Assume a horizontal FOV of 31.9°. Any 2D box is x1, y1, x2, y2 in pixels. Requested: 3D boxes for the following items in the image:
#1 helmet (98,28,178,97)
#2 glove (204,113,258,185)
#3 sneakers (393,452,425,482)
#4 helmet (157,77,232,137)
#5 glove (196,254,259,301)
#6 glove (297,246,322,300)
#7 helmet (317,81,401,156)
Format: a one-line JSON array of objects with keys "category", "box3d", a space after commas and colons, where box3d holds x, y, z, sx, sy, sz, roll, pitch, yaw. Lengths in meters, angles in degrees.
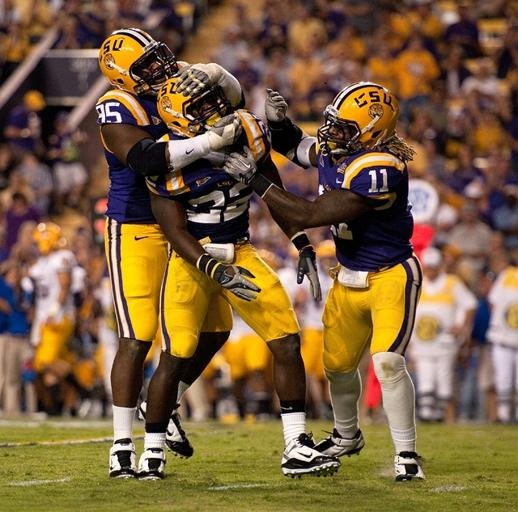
[{"category": "helmet", "box3d": [-0.697, -1.117, 5.159, 0.511, 0.306, 0.326, 16, 35, 16]}, {"category": "glove", "box3d": [-0.130, -0.554, 4.648, 0.265, 0.348, 0.238, -1, -5, -10]}, {"category": "sneakers", "box3d": [0.795, 1.097, 4.760, 0.156, 0.159, 0.121, -2, -5, 8]}, {"category": "helmet", "box3d": [-0.349, -0.776, 4.703, 0.410, 0.249, 0.308, 6, 7, 29]}, {"category": "glove", "box3d": [-0.159, 0.116, 4.675, 0.373, 0.179, 0.109, 29, -26, 0]}, {"category": "glove", "box3d": [0.290, 0.092, 4.878, 0.087, 0.242, 0.176, -16, -4, 16]}, {"category": "helmet", "box3d": [0.544, -0.761, 4.934, 0.512, 0.305, 0.329, -16, 25, -19]}]
